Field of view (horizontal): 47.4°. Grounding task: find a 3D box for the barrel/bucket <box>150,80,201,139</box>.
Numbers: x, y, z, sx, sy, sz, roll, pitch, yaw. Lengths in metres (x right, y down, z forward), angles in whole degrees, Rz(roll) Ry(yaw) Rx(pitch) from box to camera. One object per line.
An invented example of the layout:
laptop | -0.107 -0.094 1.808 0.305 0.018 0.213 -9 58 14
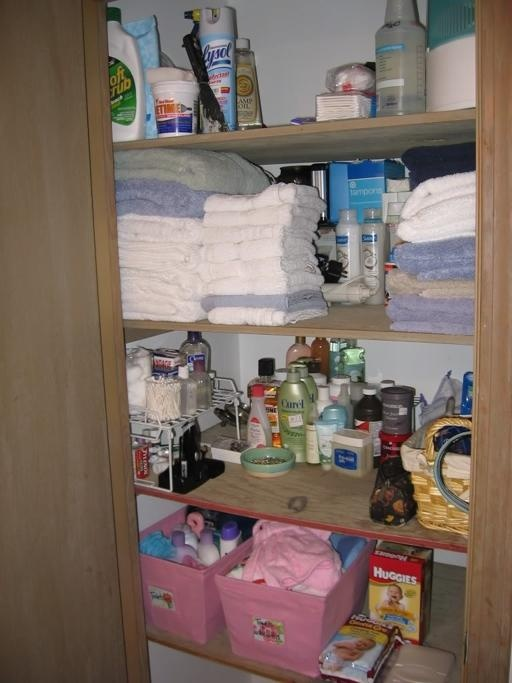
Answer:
barrel/bucket | -0.153 -0.449 1.166 0.111 0.093 0.104 -1 9 0

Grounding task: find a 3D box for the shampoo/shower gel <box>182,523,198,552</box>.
shampoo/shower gel | -0.167 0.499 1.484 0.042 0.068 0.041 -4 -11 -5

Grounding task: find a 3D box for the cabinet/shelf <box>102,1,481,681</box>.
cabinet/shelf | 0.087 -0.063 1.375 0.807 1.624 0.677 3 12 21

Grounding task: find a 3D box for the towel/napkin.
towel/napkin | 0.001 -0.190 1.250 0.558 0.193 0.401 -3 14 -15

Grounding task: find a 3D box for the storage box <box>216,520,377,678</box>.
storage box | 0.109 0.569 1.326 0.225 0.166 0.286 1 2 29

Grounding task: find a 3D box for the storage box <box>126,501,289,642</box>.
storage box | -0.148 0.566 1.452 0.196 0.177 0.270 3 2 29
